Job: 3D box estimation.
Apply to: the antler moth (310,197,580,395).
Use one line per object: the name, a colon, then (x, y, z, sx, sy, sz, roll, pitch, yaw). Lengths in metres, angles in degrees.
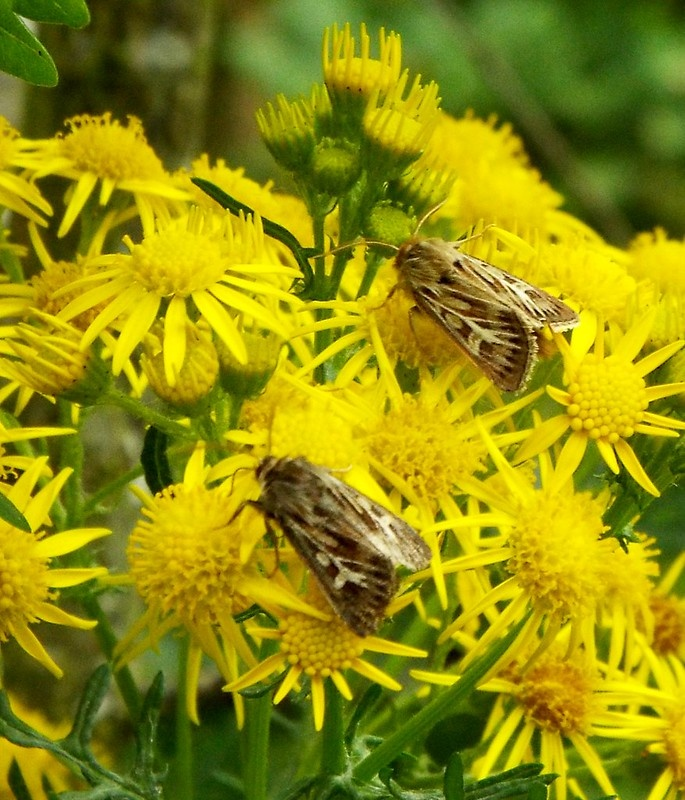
antler moth: (0.155, -0.152, 1.452, 0.330, 0.084, 0.220, 33, 53, 13)

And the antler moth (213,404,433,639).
antler moth: (-0.030, 0.144, 1.296, 0.282, 0.067, 0.167, 44, 44, 11)
